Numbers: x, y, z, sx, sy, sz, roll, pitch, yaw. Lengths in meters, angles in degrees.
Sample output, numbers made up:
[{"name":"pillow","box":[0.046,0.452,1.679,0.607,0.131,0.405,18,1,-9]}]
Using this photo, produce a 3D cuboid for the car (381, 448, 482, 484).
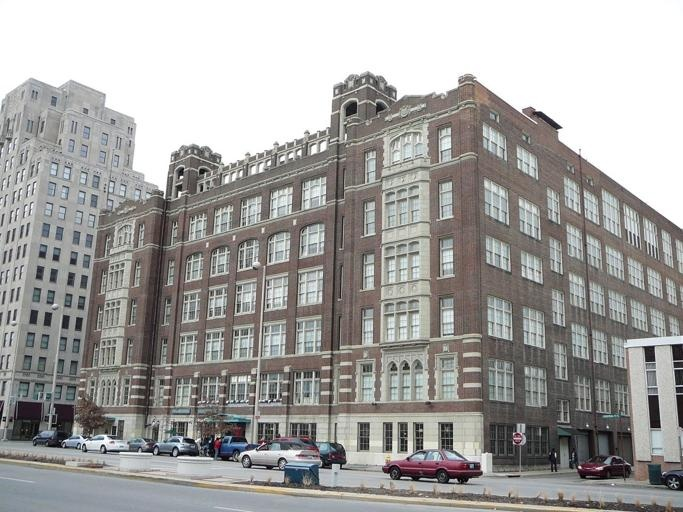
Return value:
[{"name":"car","box":[5.518,12.929,39.241,5.228,1.566,2.357,-9,-22,37]}]

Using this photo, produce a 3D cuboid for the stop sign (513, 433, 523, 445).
[{"name":"stop sign","box":[13.440,13.717,48.113,0.743,0.776,0.787,-4,-22,12]}]

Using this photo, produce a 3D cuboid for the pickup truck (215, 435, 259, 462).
[{"name":"pickup truck","box":[-8.551,16.270,54.144,3.818,1.574,2.342,-11,-23,34]}]

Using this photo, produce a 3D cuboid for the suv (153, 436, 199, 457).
[{"name":"suv","box":[-15.593,17.818,59.515,4.443,1.546,2.058,-7,-17,36]}]

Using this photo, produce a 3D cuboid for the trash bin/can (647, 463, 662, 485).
[{"name":"trash bin/can","box":[20.373,14.112,41.182,0.867,1.249,0.708,1,-22,0]}]

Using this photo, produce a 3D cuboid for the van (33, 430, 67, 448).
[{"name":"van","box":[-33.401,21.041,73.356,3.300,1.570,2.016,-5,-16,36]}]

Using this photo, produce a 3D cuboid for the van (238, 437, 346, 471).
[{"name":"van","box":[-4.120,13.576,43.638,5.479,2.085,1.697,-10,-24,26]}]
